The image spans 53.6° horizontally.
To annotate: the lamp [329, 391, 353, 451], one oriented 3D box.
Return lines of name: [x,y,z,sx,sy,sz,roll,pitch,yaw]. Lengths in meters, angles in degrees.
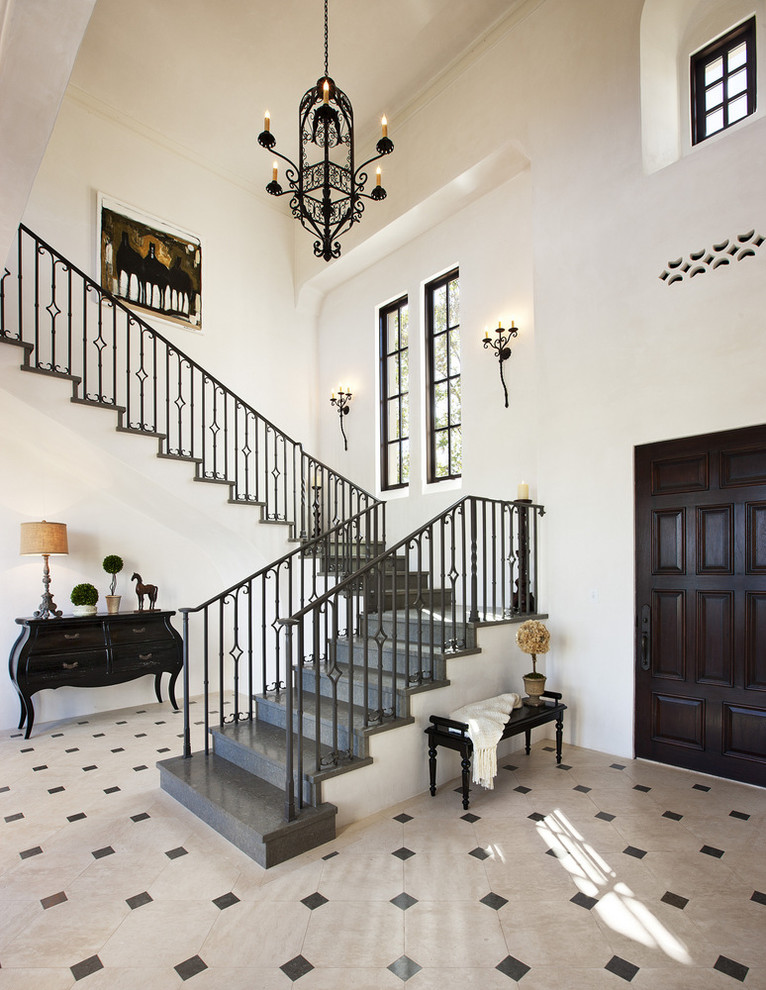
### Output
lamp: [-0.486,-0.842,8.667,0.103,0.694,0.355,0,0,-31]

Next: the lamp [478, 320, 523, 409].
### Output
lamp: [0.953,-1.070,6.347,0.125,0.709,0.430,0,0,-29]

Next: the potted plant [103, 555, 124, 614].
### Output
potted plant: [-2.189,0.726,6.129,0.154,0.476,0.452,0,0,-19]

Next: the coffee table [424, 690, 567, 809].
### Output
coffee table: [0.712,1.520,4.636,0.954,0.513,0.333,-3,4,-42]

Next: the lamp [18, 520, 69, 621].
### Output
lamp: [-2.544,0.556,5.660,0.307,0.719,0.489,0,0,-27]

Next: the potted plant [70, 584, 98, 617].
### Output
potted plant: [-2.289,0.783,5.874,0.197,0.271,0.212,7,10,24]

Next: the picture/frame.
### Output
picture/frame: [-2.355,-2.277,7.439,0.112,1.510,1.653,2,2,32]

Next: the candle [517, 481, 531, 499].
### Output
candle: [1.052,-0.032,5.641,0.107,0.201,0.119,-1,6,3]
